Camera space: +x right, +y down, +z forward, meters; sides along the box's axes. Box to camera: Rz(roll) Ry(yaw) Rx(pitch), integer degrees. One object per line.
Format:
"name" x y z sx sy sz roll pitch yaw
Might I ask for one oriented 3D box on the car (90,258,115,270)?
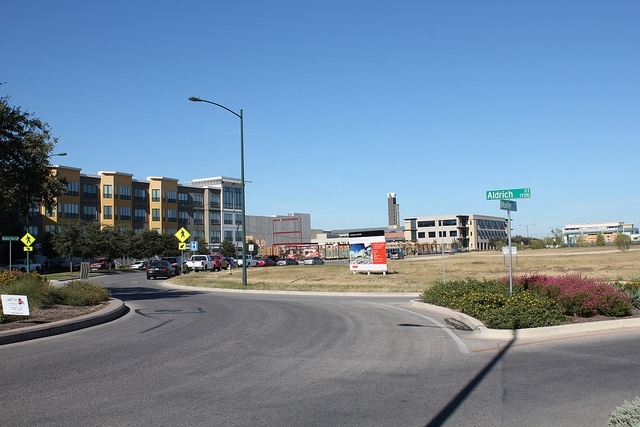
"car" -24.679 5.567 63.229 1.759 1.369 3.394 -2 -11 2

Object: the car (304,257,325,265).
"car" -0.977 6.969 81.697 1.394 0.999 4.289 -5 -5 29

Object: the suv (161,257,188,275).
"suv" -13.420 4.904 52.563 1.320 1.114 2.803 0 2 6

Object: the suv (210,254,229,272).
"suv" -10.995 5.372 60.703 1.122 0.975 2.594 -2 -8 5

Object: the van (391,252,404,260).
"van" 14.503 8.070 104.304 2.395 0.988 1.376 1 1 15

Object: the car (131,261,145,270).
"car" -23.043 6.623 70.951 1.194 1.077 2.051 -2 -11 5

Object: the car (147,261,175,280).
"car" -13.165 4.663 45.818 1.905 1.435 1.395 -1 -5 -24

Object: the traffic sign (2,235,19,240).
"traffic sign" -18.615 1.478 33.591 0.869 0.233 0.965 0 -3 -4

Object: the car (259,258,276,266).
"car" -7.081 6.495 74.059 1.695 1.090 4.399 -3 -5 5
